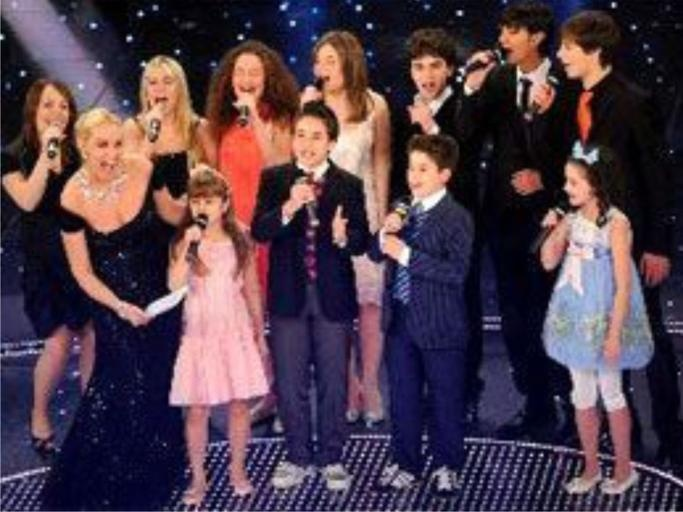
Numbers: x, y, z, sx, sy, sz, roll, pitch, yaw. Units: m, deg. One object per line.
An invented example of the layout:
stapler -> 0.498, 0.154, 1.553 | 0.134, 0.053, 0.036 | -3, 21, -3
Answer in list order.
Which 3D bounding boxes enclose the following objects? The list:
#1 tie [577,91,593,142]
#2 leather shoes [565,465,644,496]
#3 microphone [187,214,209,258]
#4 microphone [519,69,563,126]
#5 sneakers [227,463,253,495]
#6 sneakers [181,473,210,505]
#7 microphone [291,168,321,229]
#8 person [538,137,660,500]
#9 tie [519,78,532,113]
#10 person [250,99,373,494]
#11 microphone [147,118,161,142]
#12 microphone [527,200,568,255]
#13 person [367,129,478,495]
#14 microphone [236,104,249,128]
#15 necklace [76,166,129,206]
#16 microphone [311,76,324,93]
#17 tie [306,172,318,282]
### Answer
tie -> 1.081, -0.613, 2.743 | 0.055, 0.232, 0.027 | 3, -19, 20
leather shoes -> 1.170, 1.037, 2.781 | 0.337, 0.094, 0.130 | -7, 45, 2
microphone -> -0.630, -0.091, 2.707 | 0.058, 0.218, 0.061 | -5, -35, 12
microphone -> 0.863, -0.685, 2.695 | 0.190, 0.209, 0.063 | -1, 4, 2
sneakers -> -0.476, 1.040, 2.860 | 0.112, 0.107, 0.263 | 8, 1, -18
sneakers -> -0.668, 1.084, 2.844 | 0.071, 0.100, 0.139 | 2, -3, 7
microphone -> -0.125, -0.228, 2.633 | 0.132, 0.207, 0.055 | -4, 9, -8
person -> 1.130, 0.292, 2.709 | 0.457, 1.588, 0.204 | -2, 4, -8
tie -> 0.836, -0.717, 2.762 | 0.032, 0.176, 0.035 | 1, 7, 16
person -> -0.125, 0.219, 2.719 | 0.511, 1.716, 0.176 | -2, 4, -5
microphone -> -0.840, -0.564, 2.767 | 0.045, 0.104, 0.036 | 2, -3, 11
microphone -> 0.908, -0.106, 2.749 | 0.074, 0.343, 0.096 | 33, 16, 26
person -> 0.337, 0.252, 2.761 | 0.438, 1.571, 0.401 | 2, 2, 17
microphone -> -0.434, -0.623, 2.715 | 0.056, 0.105, 0.152 | -3, 5, -9
necklace -> -1.089, -0.320, 2.784 | 0.238, 0.143, 0.040 | -1, 4, 11
microphone -> -0.103, -0.771, 2.766 | 0.055, 0.057, 0.013 | 18, 8, 14
tie -> -0.131, -0.143, 2.697 | 0.050, 0.552, 0.053 | 6, 13, 18
